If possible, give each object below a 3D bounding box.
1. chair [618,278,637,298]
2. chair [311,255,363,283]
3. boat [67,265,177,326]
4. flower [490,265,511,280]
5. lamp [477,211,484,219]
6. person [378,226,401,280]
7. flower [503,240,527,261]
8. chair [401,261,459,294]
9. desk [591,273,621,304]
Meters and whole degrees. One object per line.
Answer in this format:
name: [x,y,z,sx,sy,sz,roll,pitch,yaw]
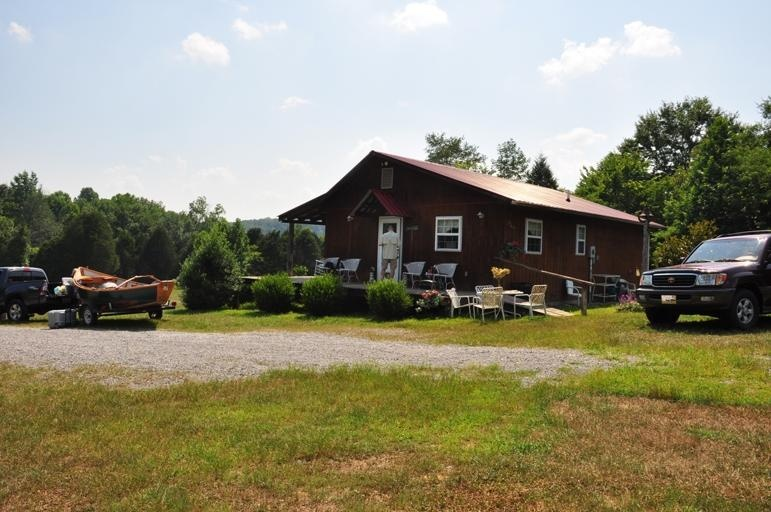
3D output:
chair: [9.716,1.298,29.092,0.565,0.777,1.403,1,5,37]
chair: [-1.918,0.567,29.323,2.336,0.916,0.966,2,6,41]
boat: [-9.741,1.350,25.378,3.551,1.278,1.997,5,5,34]
flower: [3.899,0.566,24.494,0.492,0.362,0.494,0,0,-31]
lamp: [3.390,-1.433,25.766,0.213,0.245,0.232,2,-7,-20]
person: [0.185,-0.017,26.188,0.672,2.118,0.667,0,-24,12]
flower: [4.453,-0.094,25.321,0.706,0.887,0.783,-1,7,-32]
chair: [1.560,0.719,26.585,2.237,0.967,0.934,2,5,37]
desk: [9.020,1.280,29.561,1.145,1.076,2.445,0,4,17]
